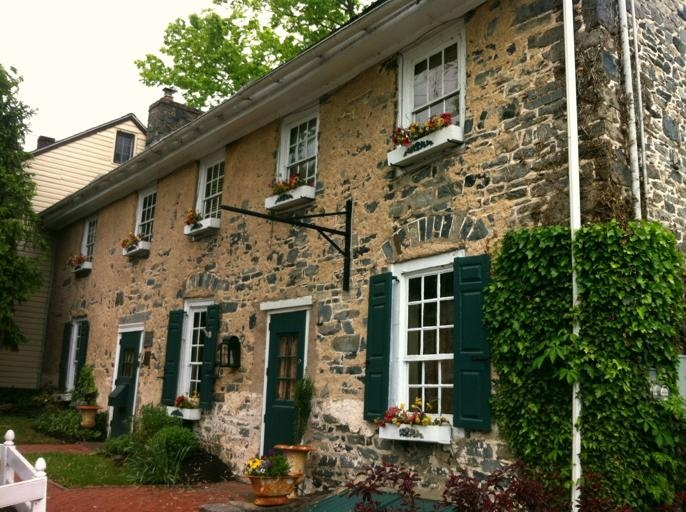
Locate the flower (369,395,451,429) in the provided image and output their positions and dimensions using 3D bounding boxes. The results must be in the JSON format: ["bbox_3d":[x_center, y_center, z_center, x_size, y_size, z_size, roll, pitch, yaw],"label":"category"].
[{"bbox_3d":[0.846,1.867,7.689,0.985,0.347,0.315,-14,-27,42],"label":"flower"}]

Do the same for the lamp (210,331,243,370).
[{"bbox_3d":[-1.815,1.585,10.517,0.506,0.714,0.506,13,-21,-23],"label":"lamp"}]

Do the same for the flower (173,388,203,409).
[{"bbox_3d":[-2.641,2.477,11.116,0.272,0.337,0.883,21,-26,-39],"label":"flower"}]

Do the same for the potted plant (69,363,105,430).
[{"bbox_3d":[-5.517,2.997,13.931,0.564,1.485,1.282,12,-21,-21],"label":"potted plant"}]

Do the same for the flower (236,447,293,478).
[{"bbox_3d":[-0.947,2.642,8.169,0.465,0.279,0.474,4,-12,2],"label":"flower"}]

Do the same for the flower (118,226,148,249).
[{"bbox_3d":[-4.357,-0.377,13.510,0.425,0.335,0.542,-17,8,9],"label":"flower"}]

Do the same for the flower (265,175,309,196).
[{"bbox_3d":[-0.798,-1.088,9.898,0.698,0.294,0.178,-12,-25,39],"label":"flower"}]

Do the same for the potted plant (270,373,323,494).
[{"bbox_3d":[-0.616,2.438,8.851,0.527,1.320,0.541,-5,-22,20],"label":"potted plant"}]
